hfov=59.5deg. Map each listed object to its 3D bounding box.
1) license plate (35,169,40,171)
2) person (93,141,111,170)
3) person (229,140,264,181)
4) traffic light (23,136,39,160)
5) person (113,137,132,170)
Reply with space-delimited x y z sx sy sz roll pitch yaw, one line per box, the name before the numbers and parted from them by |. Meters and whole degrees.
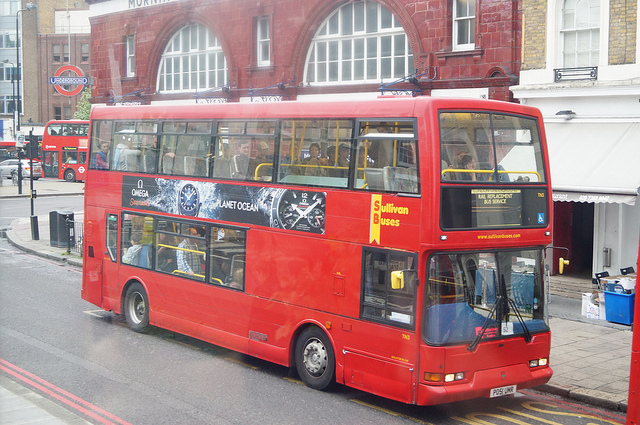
license plate | -27.165 -3.964 53.251 0.135 0.145 0.554 3 8 13
person | -5.517 -1.375 14.263 0.426 0.762 0.449 -8 6 -17
person | -1.647 -1.060 11.501 0.733 1.110 0.785 -3 6 -34
traffic light | -13.625 -2.945 26.221 0.485 1.028 1.744 -3 9 -28
person | -4.956 -1.445 13.771 0.285 0.772 0.558 7 6 -7
